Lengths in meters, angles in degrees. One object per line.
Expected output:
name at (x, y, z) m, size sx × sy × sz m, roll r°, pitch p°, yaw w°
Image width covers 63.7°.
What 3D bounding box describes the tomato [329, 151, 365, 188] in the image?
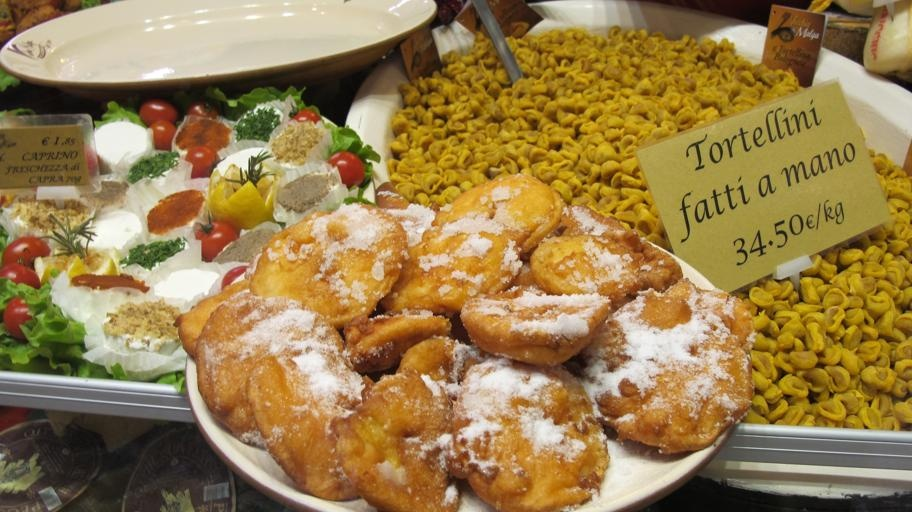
tomato at (-0.610, -0.486, 4.206) m, size 0.205 × 0.214 × 0.202 m, roll -3°, pitch 94°, yaw -3°
